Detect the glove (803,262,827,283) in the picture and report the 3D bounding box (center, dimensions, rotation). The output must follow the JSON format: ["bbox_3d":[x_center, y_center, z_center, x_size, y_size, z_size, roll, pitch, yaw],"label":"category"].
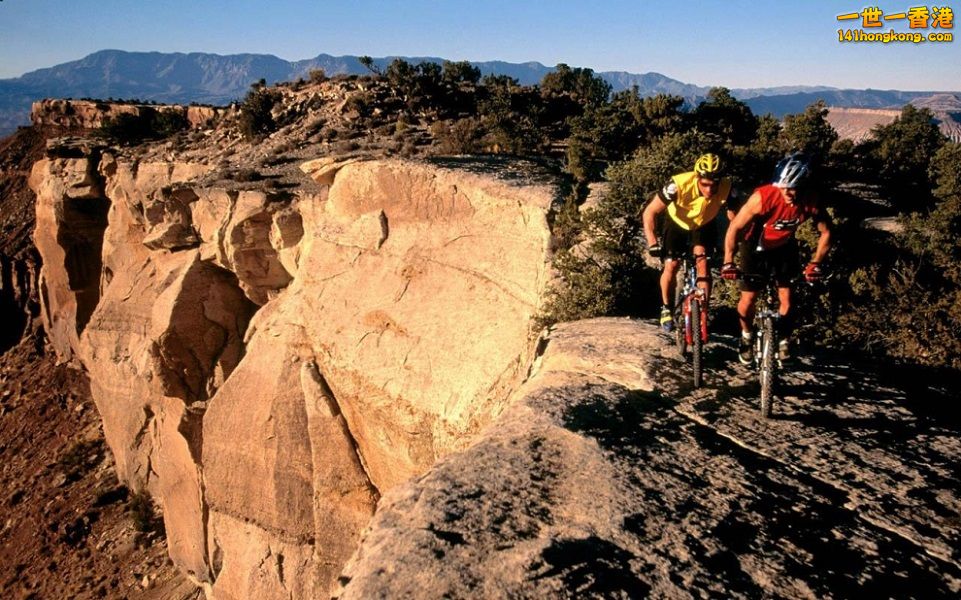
[{"bbox_3d":[9.009,-0.719,19.172,0.402,0.205,0.579,1,46,-3],"label":"glove"}]

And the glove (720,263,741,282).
[{"bbox_3d":[6.738,-0.735,19.157,0.431,0.450,0.158,-17,-6,-8],"label":"glove"}]
